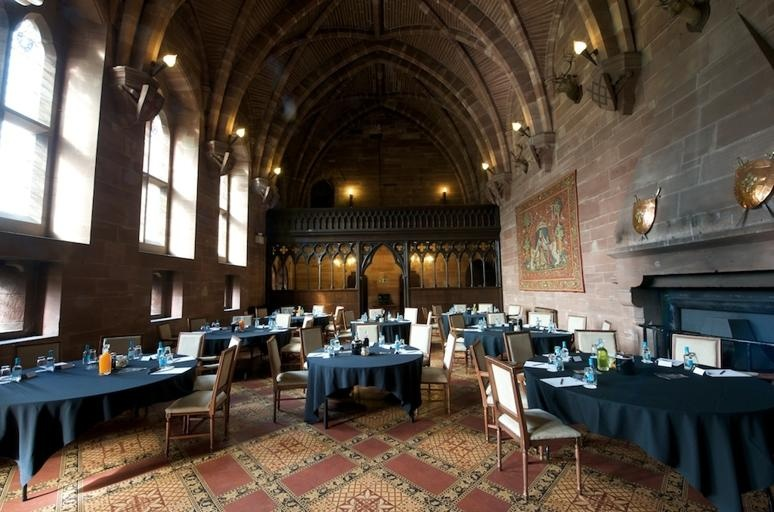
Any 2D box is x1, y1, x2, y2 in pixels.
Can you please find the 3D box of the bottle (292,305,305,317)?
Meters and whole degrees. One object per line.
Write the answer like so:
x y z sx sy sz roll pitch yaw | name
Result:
-2.610 1.630 13.226 0.274 0.457 0.472 -1 -2 13 | bottle

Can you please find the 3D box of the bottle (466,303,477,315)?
2.484 1.580 13.366 0.231 0.267 0.481 -1 -9 4 | bottle

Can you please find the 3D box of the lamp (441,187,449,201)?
2.460 -2.661 19.459 0.243 0.547 0.354 8 14 37 | lamp

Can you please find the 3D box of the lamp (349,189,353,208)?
-1.524 -2.472 19.280 0.206 0.601 0.257 -2 12 -4 | lamp
